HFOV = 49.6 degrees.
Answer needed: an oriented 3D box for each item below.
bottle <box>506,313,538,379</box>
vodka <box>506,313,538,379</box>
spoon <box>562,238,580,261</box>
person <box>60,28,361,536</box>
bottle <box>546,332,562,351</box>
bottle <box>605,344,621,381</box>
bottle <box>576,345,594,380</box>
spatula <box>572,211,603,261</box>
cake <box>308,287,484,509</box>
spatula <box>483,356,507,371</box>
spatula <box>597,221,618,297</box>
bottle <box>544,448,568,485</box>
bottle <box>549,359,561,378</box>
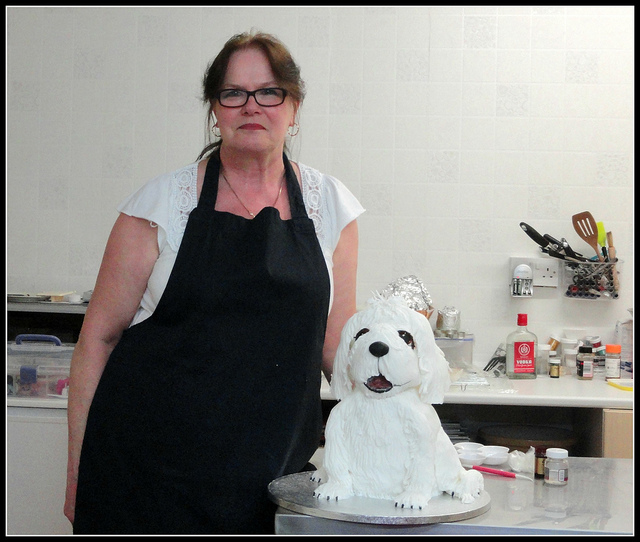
[{"bbox_3d":[0.837,0.294,2.860,0.113,0.296,0.089,0,26,19],"label":"bottle"},{"bbox_3d":[0.837,0.293,2.860,0.113,0.290,0.092,-3,25,16],"label":"vodka"},{"bbox_3d":[1.064,-0.097,3.001,0.108,0.046,0.035,13,4,-14],"label":"spoon"},{"bbox_3d":[-0.260,0.029,1.665,0.673,1.184,0.312,3,3,7],"label":"person"},{"bbox_3d":[1.023,0.312,3.036,0.055,0.067,0.136,4,4,20],"label":"bottle"},{"bbox_3d":[1.191,0.370,2.827,0.057,0.141,0.119,4,4,22],"label":"bottle"},{"bbox_3d":[1.095,0.378,2.873,0.069,0.138,0.079,0,5,-15],"label":"bottle"},{"bbox_3d":[1.166,-0.176,3.033,0.066,0.260,0.040,-19,-22,18],"label":"spatula"},{"bbox_3d":[0.154,0.256,1.511,0.376,0.436,0.342,4,4,18],"label":"cake"},{"bbox_3d":[0.740,0.387,2.943,0.083,0.047,0.047,-35,54,-23],"label":"spatula"},{"bbox_3d":[1.250,-0.057,3.024,0.055,0.376,0.051,-9,-15,13],"label":"spatula"},{"bbox_3d":[0.541,0.446,1.585,0.057,0.074,0.055,0,-4,0],"label":"bottle"},{"bbox_3d":[0.958,0.399,2.841,0.053,0.093,0.059,1,-7,-3],"label":"bottle"}]
